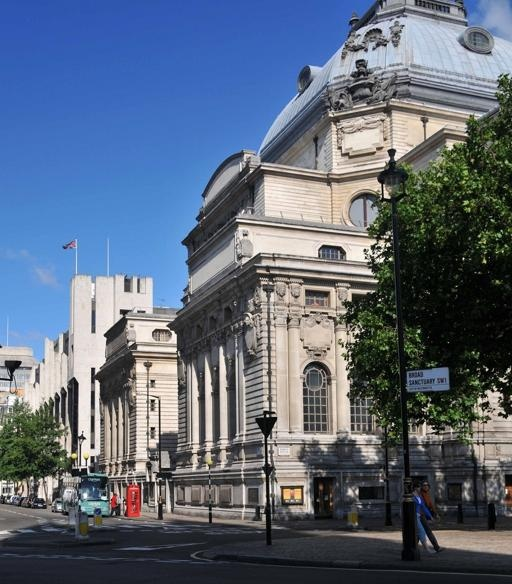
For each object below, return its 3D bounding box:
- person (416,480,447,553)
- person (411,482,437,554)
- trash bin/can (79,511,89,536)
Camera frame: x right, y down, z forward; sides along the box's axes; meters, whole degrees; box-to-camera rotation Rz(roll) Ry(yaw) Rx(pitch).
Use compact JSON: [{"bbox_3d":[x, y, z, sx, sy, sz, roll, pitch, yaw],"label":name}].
[{"bbox_3d":[5.129,6.834,38.597,0.583,2.234,0.593,-14,6,-2],"label":"person"},{"bbox_3d":[5.022,6.755,38.223,0.536,2.000,1.298,-4,-14,7],"label":"person"},{"bbox_3d":[-6.652,8.954,49.190,0.324,0.812,0.673,1,-14,-12],"label":"trash bin/can"}]
